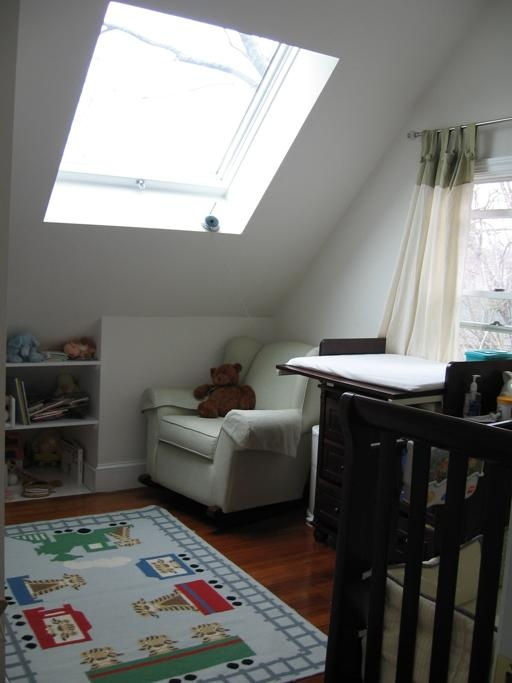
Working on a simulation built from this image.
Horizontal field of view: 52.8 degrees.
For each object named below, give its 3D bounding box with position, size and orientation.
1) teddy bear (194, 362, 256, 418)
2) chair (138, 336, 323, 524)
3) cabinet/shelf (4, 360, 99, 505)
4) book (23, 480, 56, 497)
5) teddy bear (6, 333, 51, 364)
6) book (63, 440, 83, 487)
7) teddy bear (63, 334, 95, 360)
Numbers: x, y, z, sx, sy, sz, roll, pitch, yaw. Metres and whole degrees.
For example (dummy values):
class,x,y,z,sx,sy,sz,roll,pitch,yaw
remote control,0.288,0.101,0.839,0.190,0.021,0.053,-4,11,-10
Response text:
class,x,y,z,sx,sy,sz,roll,pitch,yaw
teddy bear,-0.205,0.315,3.215,0.368,0.372,0.220,-1,-12,1
chair,-0.092,0.341,3.166,0.905,1.015,1.069,3,1,-40
cabinet/shelf,-1.244,0.548,3.154,0.892,0.821,0.315,2,-2,-29
book,-1.289,0.888,3.061,0.171,0.041,0.213,3,1,-18
teddy bear,-1.330,0.036,2.996,0.234,0.161,0.230,3,1,-33
book,-1.170,0.800,3.307,0.106,0.227,0.252,-4,5,-33
teddy bear,-1.075,0.039,3.143,0.176,0.136,0.115,3,1,-34
